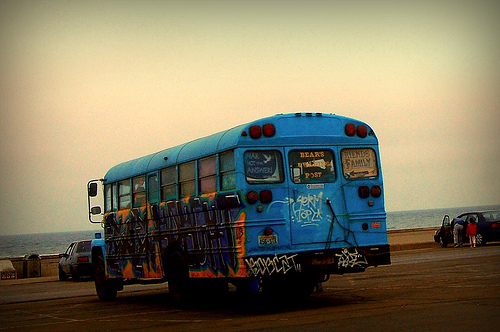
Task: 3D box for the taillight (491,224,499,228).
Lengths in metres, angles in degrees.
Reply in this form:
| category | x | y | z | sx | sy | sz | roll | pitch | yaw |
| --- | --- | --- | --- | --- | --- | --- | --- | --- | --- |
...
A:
| category | x | y | z | sx | sy | sz | roll | pitch | yaw |
| --- | --- | --- | --- | --- | --- | --- | --- | --- | --- |
| taillight | 12.171 | 2.980 | 29.691 | 0.343 | 0.170 | 0.048 | -8 | -7 | 35 |

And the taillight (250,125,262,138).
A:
| category | x | y | z | sx | sy | sz | roll | pitch | yaw |
| --- | --- | --- | --- | --- | --- | --- | --- | --- | --- |
| taillight | 0.114 | -0.769 | 13.487 | 0.256 | 0.347 | 0.056 | 2 | -9 | -7 |

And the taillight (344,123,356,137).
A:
| category | x | y | z | sx | sy | sz | roll | pitch | yaw |
| --- | --- | --- | --- | --- | --- | --- | --- | --- | --- |
| taillight | 2.389 | -0.850 | 14.179 | 0.289 | 0.329 | 0.059 | 0 | -6 | -27 |

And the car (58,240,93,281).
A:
| category | x | y | z | sx | sy | sz | roll | pitch | yaw |
| --- | --- | --- | --- | --- | --- | --- | --- | --- | --- |
| car | -7.905 | 4.365 | 27.453 | 0.956 | 1.804 | 2.657 | 0 | -7 | -30 |

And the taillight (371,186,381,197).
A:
| category | x | y | z | sx | sy | sz | roll | pitch | yaw |
| --- | --- | --- | --- | --- | --- | --- | --- | --- | --- |
| taillight | 2.975 | 0.608 | 14.104 | 0.167 | 0.248 | 0.065 | 3 | -3 | -5 |

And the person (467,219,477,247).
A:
| category | x | y | z | sx | sy | sz | roll | pitch | yaw |
| --- | --- | --- | --- | --- | --- | --- | --- | --- | --- |
| person | 11.114 | 3.356 | 29.915 | 0.452 | 1.350 | 1.018 | -5 | -6 | 20 |

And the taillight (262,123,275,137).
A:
| category | x | y | z | sx | sy | sz | roll | pitch | yaw |
| --- | --- | --- | --- | --- | --- | --- | --- | --- | --- |
| taillight | 0.425 | -0.805 | 13.609 | 0.228 | 0.307 | 0.070 | 1 | -4 | -8 |

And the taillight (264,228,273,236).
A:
| category | x | y | z | sx | sy | sz | roll | pitch | yaw |
| --- | --- | --- | --- | --- | --- | --- | --- | --- | --- |
| taillight | 0.403 | 1.451 | 13.287 | 0.228 | 0.241 | 0.125 | 4 | -2 | -9 |

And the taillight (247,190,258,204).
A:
| category | x | y | z | sx | sy | sz | roll | pitch | yaw |
| --- | --- | --- | --- | --- | --- | --- | --- | --- | --- |
| taillight | 0.058 | 0.686 | 13.196 | 0.257 | 0.306 | 0.088 | 1 | -6 | -35 |

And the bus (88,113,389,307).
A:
| category | x | y | z | sx | sy | sz | roll | pitch | yaw |
| --- | --- | --- | --- | --- | --- | --- | --- | --- | --- |
| bus | -1.482 | 1.503 | 16.607 | 10.296 | 4.508 | 3.184 | -9 | -8 | 44 |

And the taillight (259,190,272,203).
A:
| category | x | y | z | sx | sy | sz | roll | pitch | yaw |
| --- | --- | --- | --- | --- | --- | --- | --- | --- | --- |
| taillight | 0.332 | 0.684 | 13.278 | 0.262 | 0.277 | 0.063 | 2 | -4 | -15 |

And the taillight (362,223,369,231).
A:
| category | x | y | z | sx | sy | sz | roll | pitch | yaw |
| --- | --- | --- | --- | --- | --- | --- | --- | --- | --- |
| taillight | 2.691 | 1.424 | 13.942 | 0.159 | 0.170 | 0.032 | 0 | -6 | -32 |
